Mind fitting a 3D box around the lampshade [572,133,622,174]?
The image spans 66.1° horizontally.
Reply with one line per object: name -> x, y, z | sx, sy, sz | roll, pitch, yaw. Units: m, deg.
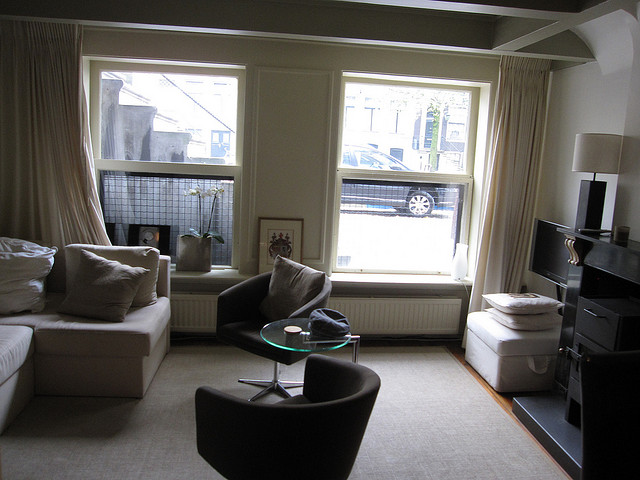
lampshade -> 2.101, -0.663, 3.868 | 0.304, 0.348, 0.316 | 4, 7, 3

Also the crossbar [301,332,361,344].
crossbar -> 0.045, 0.693, 3.488 | 0.354, 0.048, 0.148 | 1, 8, -8

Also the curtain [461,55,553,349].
curtain -> 1.853, -0.506, 4.778 | 0.695, 2.468, 0.211 | -1, 8, -14

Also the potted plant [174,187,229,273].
potted plant -> -1.162, -0.102, 4.876 | 0.505, 0.826, 0.251 | 0, 8, -13

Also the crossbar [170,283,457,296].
crossbar -> -0.012, 0.496, 4.897 | 2.861, 0.117, 0.095 | 1, 8, -8

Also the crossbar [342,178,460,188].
crossbar -> 0.846, -0.576, 5.071 | 1.237, 0.064, 0.052 | 1, 8, -8

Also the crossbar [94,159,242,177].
crossbar -> -1.515, -0.708, 4.714 | 1.272, 0.170, 0.112 | 2, -5, -3

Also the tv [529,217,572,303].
tv -> 2.042, 0.258, 4.298 | 0.196, 0.648, 0.524 | -6, 14, -11

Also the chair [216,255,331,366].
chair -> -0.310, 0.524, 4.064 | 0.823, 0.644, 0.788 | 10, 13, 33
